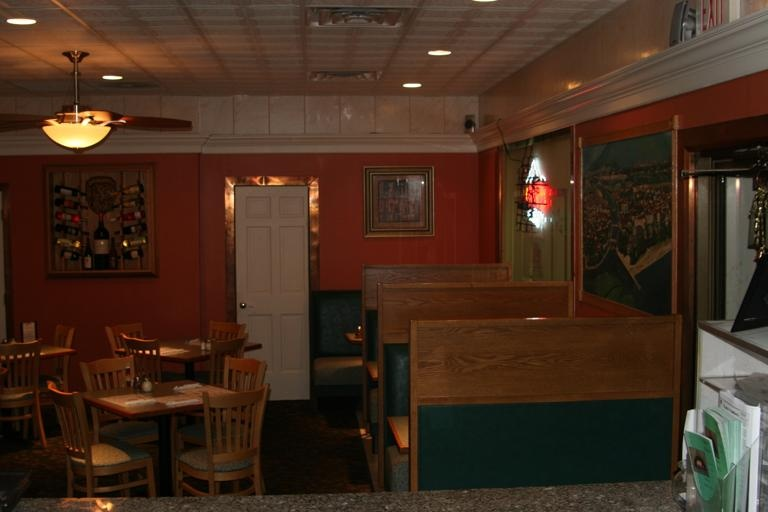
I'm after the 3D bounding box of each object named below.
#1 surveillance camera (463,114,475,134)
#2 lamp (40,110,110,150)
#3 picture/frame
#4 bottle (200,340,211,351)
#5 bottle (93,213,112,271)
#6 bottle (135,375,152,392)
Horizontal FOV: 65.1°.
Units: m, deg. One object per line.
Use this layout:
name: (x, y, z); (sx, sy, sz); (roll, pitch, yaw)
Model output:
surveillance camera: (1.138, -1.756, 8.019); (0.171, 0.278, 0.180); (-2, 2, 7)
lamp: (-2.555, -1.030, 4.999); (0.389, 0.134, 0.363); (0, 1, -5)
picture/frame: (0.151, -0.761, 8.192); (1.134, 0.984, 0.079); (0, 1, -3)
bottle: (-2.025, 1.013, 6.825); (0.120, 0.074, 0.114); (1, -6, 0)
bottle: (-3.699, -0.180, 7.889); (0.244, 0.501, 0.062); (-2, 2, 4)
bottle: (-2.133, 1.127, 5.314); (0.113, 0.161, 0.182); (2, -7, -39)
